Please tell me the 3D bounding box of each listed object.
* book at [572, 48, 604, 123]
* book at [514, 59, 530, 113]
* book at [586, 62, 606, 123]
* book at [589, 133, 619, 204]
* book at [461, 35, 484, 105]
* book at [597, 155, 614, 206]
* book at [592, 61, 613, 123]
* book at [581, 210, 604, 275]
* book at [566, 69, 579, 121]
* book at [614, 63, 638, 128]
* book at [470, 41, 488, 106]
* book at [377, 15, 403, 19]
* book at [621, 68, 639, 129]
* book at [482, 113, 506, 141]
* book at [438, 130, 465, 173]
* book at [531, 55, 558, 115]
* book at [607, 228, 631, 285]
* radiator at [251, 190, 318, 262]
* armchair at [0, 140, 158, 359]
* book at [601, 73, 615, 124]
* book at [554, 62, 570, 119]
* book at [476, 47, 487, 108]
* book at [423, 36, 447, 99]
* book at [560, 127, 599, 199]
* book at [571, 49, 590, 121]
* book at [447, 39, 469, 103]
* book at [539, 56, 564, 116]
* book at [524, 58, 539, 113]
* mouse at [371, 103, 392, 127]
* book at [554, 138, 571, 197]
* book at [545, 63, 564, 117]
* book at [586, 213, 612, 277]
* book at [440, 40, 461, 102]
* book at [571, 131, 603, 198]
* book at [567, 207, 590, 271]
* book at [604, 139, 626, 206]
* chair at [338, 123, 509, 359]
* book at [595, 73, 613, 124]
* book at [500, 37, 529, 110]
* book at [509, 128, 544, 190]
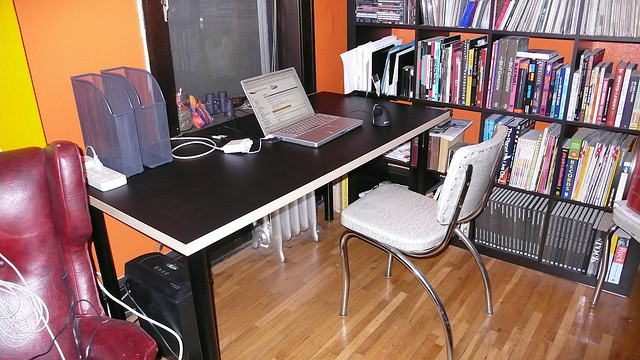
[{"bbox_3d":[1.811,-0.635,2.944,0.110,0.428,0.217,14,34,26],"label":"book"},{"bbox_3d":[1.449,-0.662,3.061,0.067,0.261,0.264,6,11,17],"label":"book"},{"bbox_3d":[1.876,-0.600,2.888,0.048,0.336,0.302,18,43,28],"label":"book"},{"bbox_3d":[1.985,-0.072,2.972,0.019,0.494,0.079,14,15,-23],"label":"book"},{"bbox_3d":[1.149,-0.823,3.193,0.060,0.427,0.384,14,37,28],"label":"book"},{"bbox_3d":[1.978,0.006,2.990,0.036,0.351,0.038,12,15,5],"label":"book"},{"bbox_3d":[1.910,-0.579,2.878,0.050,0.350,0.318,13,34,31],"label":"book"},{"bbox_3d":[1.970,0.453,3.135,0.083,0.339,0.359,18,18,27],"label":"book"},{"bbox_3d":[1.747,-0.604,2.940,0.034,0.327,0.248,12,32,28],"label":"book"},{"bbox_3d":[2.031,-0.554,2.820,0.042,0.353,0.314,20,40,27],"label":"book"},{"bbox_3d":[1.186,-0.808,3.172,0.056,0.398,0.359,13,37,21],"label":"book"},{"bbox_3d":[0.550,-1.290,3.376,0.198,0.025,0.026,15,34,29],"label":"book"},{"bbox_3d":[2.048,-0.515,2.818,0.053,0.326,0.114,8,32,17],"label":"book"},{"bbox_3d":[1.216,-0.367,2.979,0.080,0.213,0.240,26,42,33],"label":"book"},{"bbox_3d":[0.930,-0.212,3.050,0.195,0.244,0.273,18,32,25],"label":"book"},{"bbox_3d":[1.588,-0.682,3.004,0.110,0.299,0.324,10,38,19],"label":"book"},{"bbox_3d":[2.133,0.550,3.032,0.089,0.383,0.135,13,34,25],"label":"book"},{"bbox_3d":[-0.278,0.352,3.178,0.352,0.566,0.342,20,41,34],"label":"radiator"},{"bbox_3d":[-1.291,0.382,2.116,0.477,0.969,0.783,-20,34,-26],"label":"armchair"},{"bbox_3d":[1.958,-0.547,2.899,0.058,0.296,0.170,13,34,25],"label":"book"},{"bbox_3d":[1.689,-0.626,2.971,0.050,0.324,0.291,14,36,28],"label":"book"},{"bbox_3d":[1.202,-0.782,3.163,0.044,0.390,0.294,10,34,23],"label":"book"},{"bbox_3d":[0.896,-0.878,3.312,0.215,0.343,0.358,11,42,22],"label":"book"},{"bbox_3d":[1.859,-0.042,2.960,0.163,0.396,0.447,1,-3,16],"label":"book"},{"bbox_3d":[1.787,-0.654,2.916,0.057,0.396,0.358,19,45,26],"label":"book"},{"bbox_3d":[1.055,-0.830,3.240,0.047,0.405,0.368,13,35,29],"label":"book"},{"bbox_3d":[1.630,-0.666,2.991,0.050,0.316,0.337,15,38,22],"label":"book"},{"bbox_3d":[1.510,-0.688,3.035,0.043,0.356,0.273,9,33,23],"label":"book"},{"bbox_3d":[0.416,-0.463,3.016,0.116,0.111,0.177,-10,48,-15],"label":"mouse"},{"bbox_3d":[1.738,-0.061,3.063,0.072,0.281,0.296,11,12,27],"label":"book"},{"bbox_3d":[1.647,-0.643,2.984,0.046,0.310,0.283,15,35,27],"label":"book"},{"bbox_3d":[1.989,0.481,3.112,0.091,0.362,0.368,12,11,25],"label":"book"},{"bbox_3d":[1.001,-0.849,3.267,0.125,0.337,0.358,9,44,17],"label":"book"},{"bbox_3d":[1.871,-0.101,3.057,0.093,0.367,0.390,16,14,29],"label":"book"},{"bbox_3d":[1.870,0.443,3.162,0.094,0.359,0.382,13,9,26],"label":"book"},{"bbox_3d":[2.035,-0.017,2.960,0.049,0.348,0.018,22,17,16],"label":"book"},{"bbox_3d":[0.735,0.460,2.926,1.013,1.448,0.810,25,45,32],"label":"chair"},{"bbox_3d":[1.920,-0.561,2.872,0.031,0.297,0.267,10,28,33],"label":"book"},{"bbox_3d":[1.403,-0.764,3.071,0.058,0.384,0.396,9,50,17],"label":"book"},{"bbox_3d":[1.537,-0.160,3.163,0.139,0.366,0.356,19,35,37],"label":"book"}]
